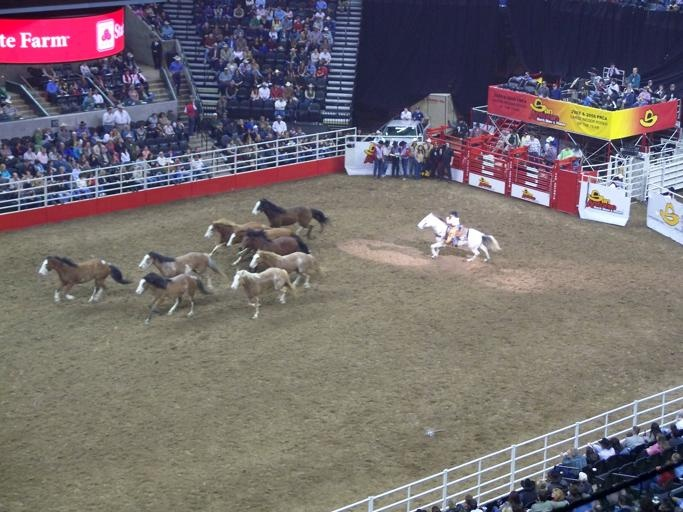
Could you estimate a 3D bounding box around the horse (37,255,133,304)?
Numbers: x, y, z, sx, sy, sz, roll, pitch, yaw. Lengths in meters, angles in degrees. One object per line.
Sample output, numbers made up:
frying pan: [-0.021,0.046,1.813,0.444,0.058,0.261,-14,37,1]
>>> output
horse: [-7.990,0.622,38.179,2.370,1.597,0.750,-5,25,-2]

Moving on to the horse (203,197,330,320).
horse: [-2.016,0.417,40.758,4.110,3.653,3.794,11,24,34]

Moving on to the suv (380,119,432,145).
suv: [2.625,-5.112,51.234,1.699,0.684,3.395,0,22,10]

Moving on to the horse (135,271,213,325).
horse: [-5.012,1.154,37.517,2.719,1.345,0.603,-8,4,-42]

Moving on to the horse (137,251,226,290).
horse: [-4.974,0.466,38.393,3.631,1.511,0.694,-6,16,-26]
